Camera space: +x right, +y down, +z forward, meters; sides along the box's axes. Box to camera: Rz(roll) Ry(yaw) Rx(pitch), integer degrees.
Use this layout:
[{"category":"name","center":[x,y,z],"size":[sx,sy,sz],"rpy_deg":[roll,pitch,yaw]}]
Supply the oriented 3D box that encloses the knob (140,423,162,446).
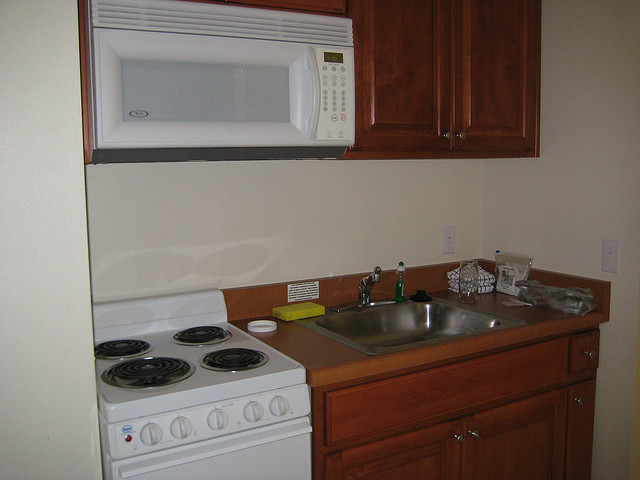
[{"category":"knob","center":[-0.496,0.568,1.523],"size":[0.068,0.068,0.035],"rpy_deg":[0,-2,-21]}]

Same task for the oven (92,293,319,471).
[{"category":"oven","center":[-0.433,0.511,1.860],"size":[0.632,0.454,0.691],"rpy_deg":[-5,12,-26]}]

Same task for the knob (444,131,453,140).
[{"category":"knob","center":[0.543,-0.442,2.210],"size":[0.021,0.025,0.037],"rpy_deg":[0,-1,14]}]

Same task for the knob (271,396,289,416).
[{"category":"knob","center":[-0.128,0.527,1.664],"size":[0.027,0.054,0.055],"rpy_deg":[10,15,42]}]

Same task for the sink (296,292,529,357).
[{"category":"sink","center":[0.376,0.398,2.219],"size":[0.842,0.171,0.579],"rpy_deg":[-5,13,-26]}]

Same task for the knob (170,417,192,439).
[{"category":"knob","center":[-0.413,0.556,1.550],"size":[0.054,0.056,0.055],"rpy_deg":[0,3,-8]}]

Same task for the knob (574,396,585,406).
[{"category":"knob","center":[1.119,0.690,2.247],"size":[0.034,0.047,0.017],"rpy_deg":[-43,4,-4]}]

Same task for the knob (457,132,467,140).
[{"category":"knob","center":[0.605,-0.445,2.232],"size":[0.029,0.030,0.031],"rpy_deg":[-4,-5,1]}]

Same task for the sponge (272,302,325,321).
[{"category":"sponge","center":[-0.093,0.307,2.291],"size":[0.207,0.047,0.137],"rpy_deg":[-8,14,-35]}]

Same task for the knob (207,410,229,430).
[{"category":"knob","center":[-0.311,0.548,1.593],"size":[0.063,0.054,0.030],"rpy_deg":[-2,11,-10]}]

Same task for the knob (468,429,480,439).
[{"category":"knob","center":[0.592,0.745,2.012],"size":[0.044,0.016,0.032],"rpy_deg":[1,1,5]}]

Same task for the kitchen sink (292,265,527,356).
[{"category":"kitchen sink","center":[0.338,0.320,2.232],"size":[0.823,0.318,0.703],"rpy_deg":[-6,13,-28]}]

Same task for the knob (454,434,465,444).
[{"category":"knob","center":[0.533,0.750,1.982],"size":[0.042,0.040,0.030],"rpy_deg":[-4,5,-40]}]

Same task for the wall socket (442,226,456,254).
[{"category":"wall socket","center":[0.682,-0.002,2.763],"size":[0.093,0.146,0.021],"rpy_deg":[-6,13,-32]}]

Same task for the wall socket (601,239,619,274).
[{"category":"wall socket","center":[1.293,0.067,2.324],"size":[0.018,0.143,0.077],"rpy_deg":[-6,13,-30]}]
